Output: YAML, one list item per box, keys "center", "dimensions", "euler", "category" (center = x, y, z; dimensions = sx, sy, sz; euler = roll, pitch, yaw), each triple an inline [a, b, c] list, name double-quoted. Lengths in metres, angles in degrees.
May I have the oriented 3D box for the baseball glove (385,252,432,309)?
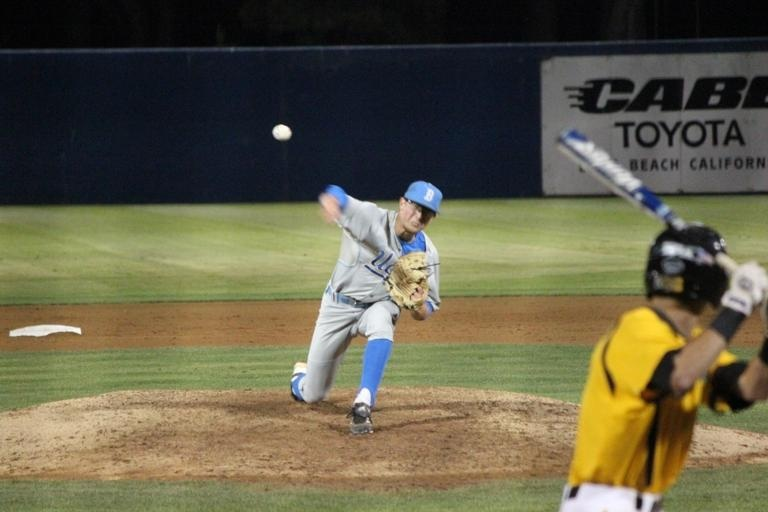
- center: [0.310, 0.300, 17.512]
  dimensions: [0.565, 0.663, 0.332]
  euler: [6, 0, -2]
  category: "baseball glove"

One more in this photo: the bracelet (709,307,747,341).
- center: [3.800, 0.741, 15.150]
  dimensions: [0.375, 0.383, 0.162]
  euler: [6, 6, 13]
  category: "bracelet"

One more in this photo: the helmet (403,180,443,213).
- center: [0.445, -0.795, 17.486]
  dimensions: [0.361, 0.239, 0.467]
  euler: [27, 4, -21]
  category: "helmet"
